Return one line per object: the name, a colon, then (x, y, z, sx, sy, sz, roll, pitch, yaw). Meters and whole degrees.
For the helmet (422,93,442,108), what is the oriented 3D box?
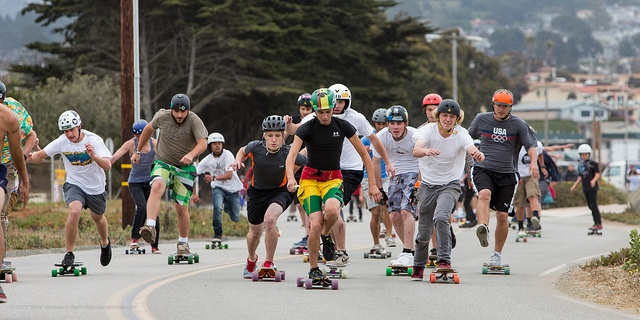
helmet: (3.942, -2.129, 30.566, 0.437, 0.526, 0.569, 1, -11, 1)

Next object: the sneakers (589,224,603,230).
sneakers: (11.871, 2.883, 37.060, 0.570, 0.238, 0.208, 1, 2, -1)

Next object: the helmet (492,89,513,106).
helmet: (6.351, -2.233, 29.875, 0.502, 0.590, 0.659, 3, 34, 5)

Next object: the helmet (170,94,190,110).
helmet: (-4.931, -2.067, 30.366, 0.473, 0.557, 0.616, 2, 29, -4)
